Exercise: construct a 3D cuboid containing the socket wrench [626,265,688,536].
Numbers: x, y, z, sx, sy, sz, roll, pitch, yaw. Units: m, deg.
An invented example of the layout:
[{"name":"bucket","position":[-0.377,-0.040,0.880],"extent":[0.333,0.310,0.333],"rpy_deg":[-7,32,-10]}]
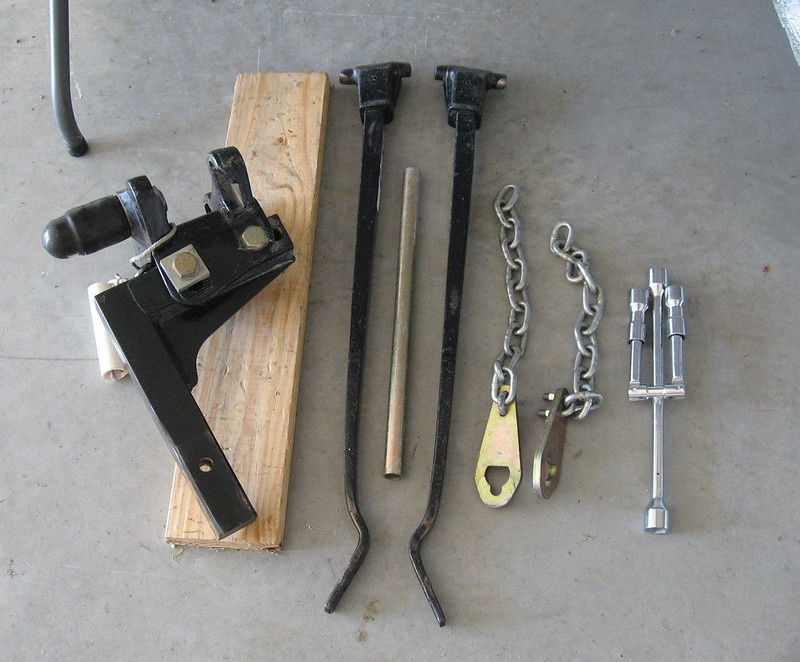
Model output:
[{"name":"socket wrench","position":[0.507,0.131,2.109],"extent":[0.116,0.054,0.555],"rpy_deg":[-5,64,24]}]
